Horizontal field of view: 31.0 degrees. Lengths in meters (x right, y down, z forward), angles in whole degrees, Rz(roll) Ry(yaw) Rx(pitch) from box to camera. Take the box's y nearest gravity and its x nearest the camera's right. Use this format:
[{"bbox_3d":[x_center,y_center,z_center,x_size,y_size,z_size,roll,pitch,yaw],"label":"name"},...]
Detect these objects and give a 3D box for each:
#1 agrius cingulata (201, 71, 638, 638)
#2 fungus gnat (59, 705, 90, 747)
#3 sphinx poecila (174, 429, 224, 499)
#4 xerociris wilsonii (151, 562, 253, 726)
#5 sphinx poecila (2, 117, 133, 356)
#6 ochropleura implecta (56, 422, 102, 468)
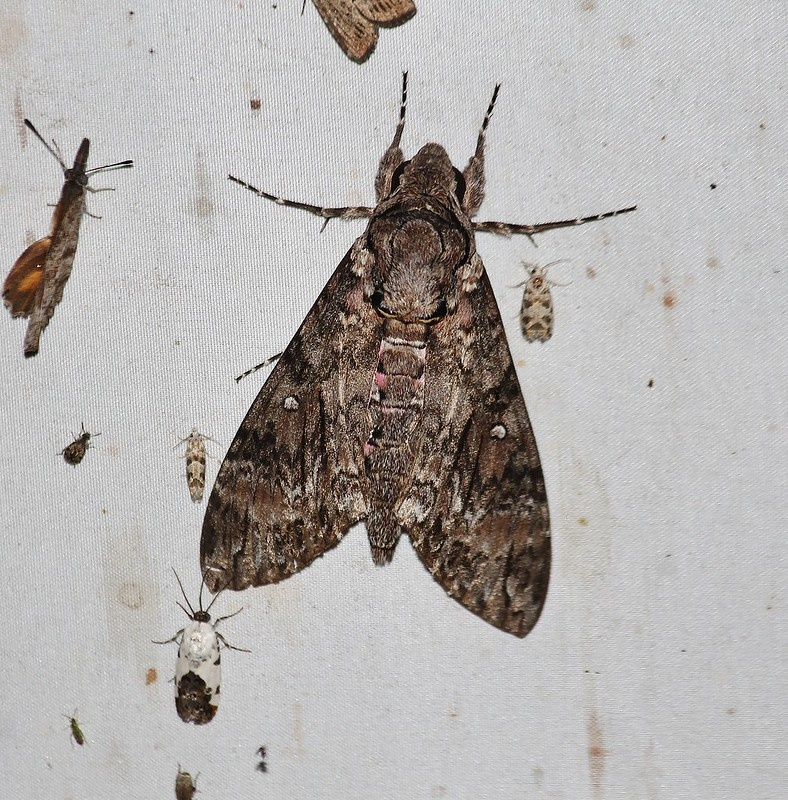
[{"bbox_3d":[0.011,-0.005,2.414,0.730,0.257,0.961,6,95,5],"label":"agrius cingulata"},{"bbox_3d":[-0.543,0.559,2.412,0.039,0.016,0.053,-16,86,-15],"label":"fungus gnat"},{"bbox_3d":[-0.337,0.104,2.419,0.068,0.132,0.103,13,121,20],"label":"sphinx poecila"},{"bbox_3d":[-0.329,0.426,2.428,0.158,0.067,0.240,5,86,10],"label":"xerociris wilsonii"},{"bbox_3d":[-0.624,-0.284,2.445,0.204,0.054,0.379,27,83,3],"label":"sphinx poecila"},{"bbox_3d":[-0.540,0.082,2.431,0.055,0.020,0.072,41,85,-3],"label":"ochropleura implecta"}]
